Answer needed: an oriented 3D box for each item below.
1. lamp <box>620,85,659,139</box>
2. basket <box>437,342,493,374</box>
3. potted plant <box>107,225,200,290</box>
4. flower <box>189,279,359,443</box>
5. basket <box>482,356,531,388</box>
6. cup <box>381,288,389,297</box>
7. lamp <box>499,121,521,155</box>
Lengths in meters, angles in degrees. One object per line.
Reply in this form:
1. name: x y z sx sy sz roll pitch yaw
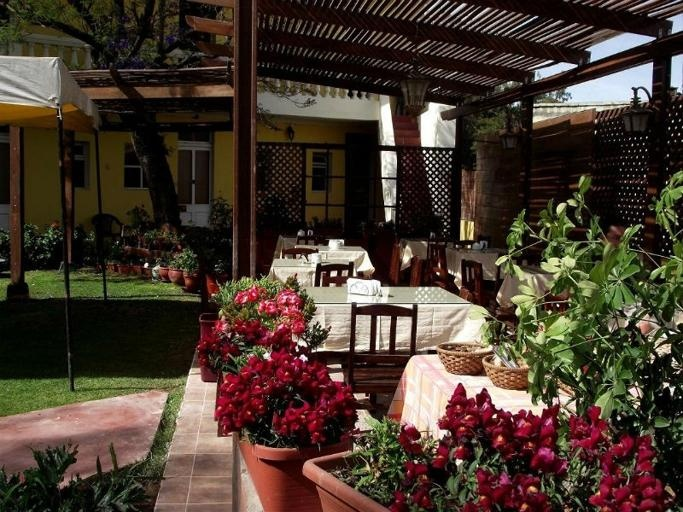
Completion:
1. lamp: 3.638 -1.754 6.508 0.347 0.505 0.762 4 6 27
2. basket: 0.627 0.511 2.842 0.187 0.079 0.185 -1 3 -17
3. potted plant: -3.808 -0.009 10.782 0.944 1.061 3.384 -3 7 -38
4. flower: -0.335 0.542 2.831 0.571 0.399 0.927 17 4 -12
5. basket: 0.792 0.579 2.614 0.178 0.069 0.178 -1 7 -8
6. cup: 0.369 0.309 4.477 0.056 0.036 0.059 2 1 0
7. lamp: 3.163 -2.199 9.986 0.358 0.520 1.313 3 6 16
